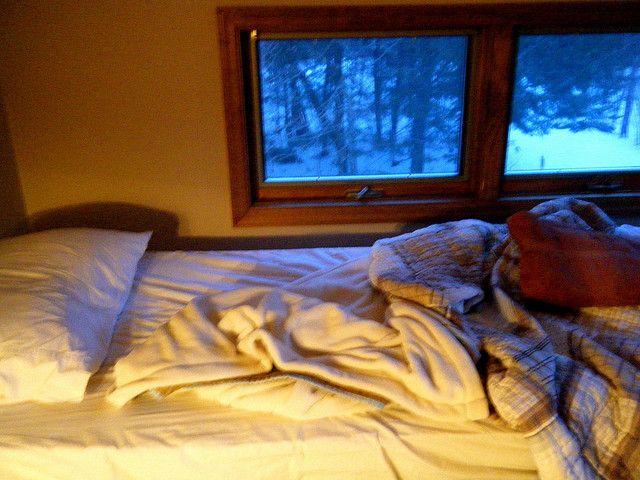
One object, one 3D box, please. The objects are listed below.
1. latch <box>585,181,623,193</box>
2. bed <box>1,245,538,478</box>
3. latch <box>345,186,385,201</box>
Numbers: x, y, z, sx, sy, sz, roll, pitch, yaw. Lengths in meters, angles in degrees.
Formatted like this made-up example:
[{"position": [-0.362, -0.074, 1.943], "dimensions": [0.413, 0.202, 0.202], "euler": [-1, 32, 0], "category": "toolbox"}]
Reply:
[{"position": [1.444, -0.275, 2.670], "dimensions": [0.115, 0.033, 0.092], "euler": [2, 25, 7], "category": "latch"}, {"position": [-0.239, 0.389, 1.918], "dimensions": [1.543, 0.437, 1.213], "euler": [0, 12, -10], "category": "bed"}, {"position": [0.227, -0.232, 2.641], "dimensions": [0.202, 0.069, 0.051], "euler": [2, 14, 0], "category": "latch"}]
